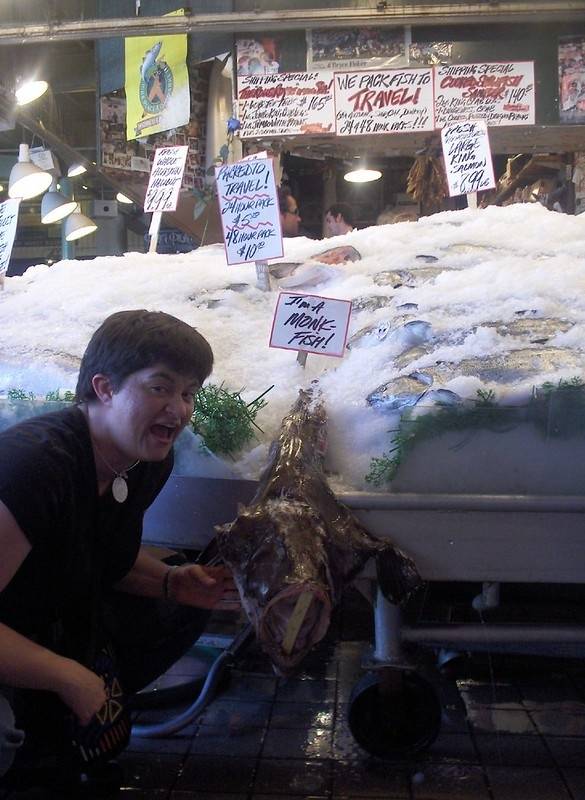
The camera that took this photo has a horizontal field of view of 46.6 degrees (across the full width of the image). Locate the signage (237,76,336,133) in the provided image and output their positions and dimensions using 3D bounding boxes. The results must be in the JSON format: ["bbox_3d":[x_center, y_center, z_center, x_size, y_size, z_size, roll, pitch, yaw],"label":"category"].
[{"bbox_3d":[-0.010,-1.601,3.665,0.357,0.195,0.045,-1,4,2],"label":"signage"}]

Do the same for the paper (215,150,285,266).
[{"bbox_3d":[-0.155,-0.703,2.507,0.294,0.391,0.077,-1,0,34],"label":"paper"}]

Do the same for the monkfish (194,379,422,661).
[{"bbox_3d":[0.011,0.206,1.479,0.368,0.153,0.627,-9,24,9],"label":"monkfish"}]

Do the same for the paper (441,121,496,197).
[{"bbox_3d":[0.759,-1.070,2.958,0.156,0.329,0.214,-1,0,-14],"label":"paper"}]

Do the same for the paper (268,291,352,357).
[{"bbox_3d":[0.054,-0.227,2.068,0.240,0.163,0.024,15,-1,26],"label":"paper"}]

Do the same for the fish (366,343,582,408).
[{"bbox_3d":[0.480,-0.063,1.731,0.552,0.169,0.258,-1,0,-6],"label":"fish"}]
